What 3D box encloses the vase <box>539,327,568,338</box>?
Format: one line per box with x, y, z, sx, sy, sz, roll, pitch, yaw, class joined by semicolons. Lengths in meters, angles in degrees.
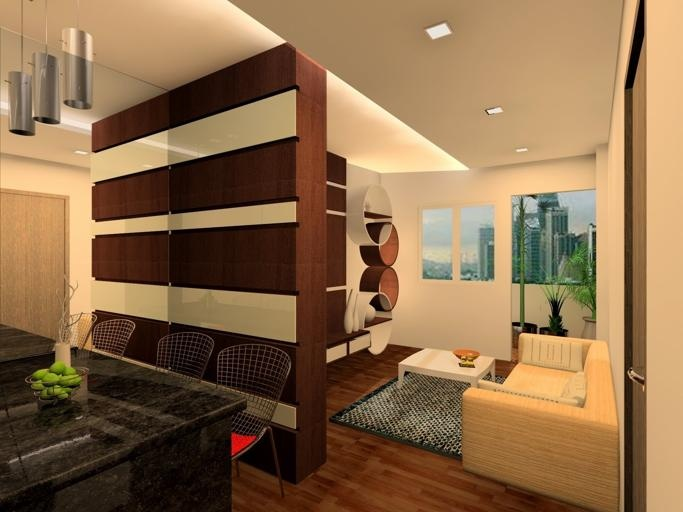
2.932;1.043;6.211;0.231;0.200;0.271;0;-7;5;vase

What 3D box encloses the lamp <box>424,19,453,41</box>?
0.616;-1.421;2.830;0.153;0.049;0.149;2;6;30;lamp

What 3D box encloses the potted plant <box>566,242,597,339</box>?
3.266;0.425;6.031;0.312;1.155;0.851;1;6;20;potted plant

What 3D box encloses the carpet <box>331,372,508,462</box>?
0.749;1.539;4.436;0.930;0.015;0.846;1;3;39;carpet

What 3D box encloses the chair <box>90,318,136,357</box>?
-1.991;0.678;4.001;0.331;0.460;0.320;2;-5;11;chair

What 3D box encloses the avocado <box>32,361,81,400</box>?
-1.465;0.642;2.329;0.202;0.147;0.209;4;3;32;avocado

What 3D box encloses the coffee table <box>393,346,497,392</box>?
1.181;1.160;5.066;0.994;0.494;1.083;0;1;32;coffee table

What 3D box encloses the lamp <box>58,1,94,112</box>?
-1.454;-1.027;2.461;0.148;0.403;0.119;-6;7;-45;lamp
